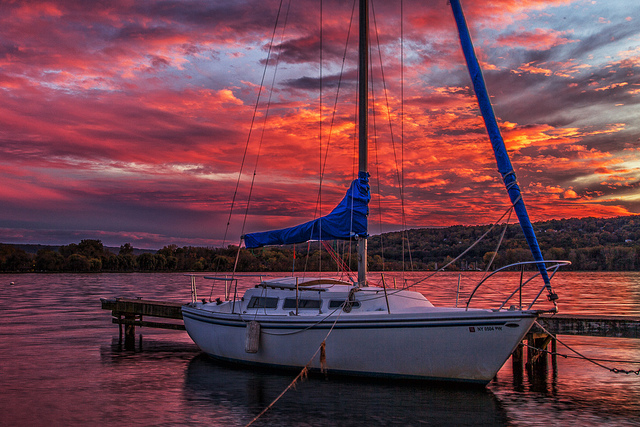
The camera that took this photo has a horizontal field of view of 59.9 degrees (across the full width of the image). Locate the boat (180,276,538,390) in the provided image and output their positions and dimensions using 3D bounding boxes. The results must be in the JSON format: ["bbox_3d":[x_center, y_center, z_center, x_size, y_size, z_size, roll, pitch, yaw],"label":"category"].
[{"bbox_3d":[0.793,4.959,23.219,16.555,3.038,6.654,-8,-21,40],"label":"boat"}]

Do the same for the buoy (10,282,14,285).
[{"bbox_3d":[-49.475,11.247,89.128,0.712,0.276,0.630,2,3,21],"label":"buoy"}]
